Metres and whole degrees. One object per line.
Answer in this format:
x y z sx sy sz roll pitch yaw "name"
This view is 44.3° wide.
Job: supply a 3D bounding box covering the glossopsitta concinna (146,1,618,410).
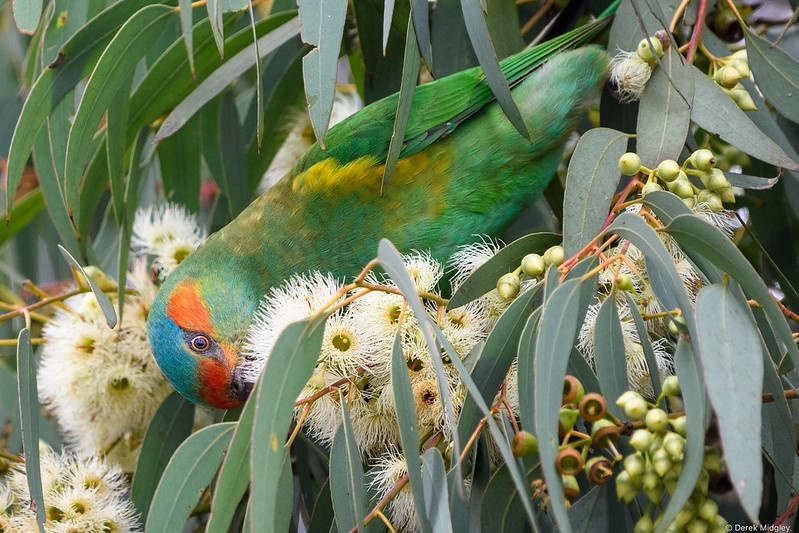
-0.028 -0.159 2.681 1.131 0.331 0.524 -36 24 23 "glossopsitta concinna"
